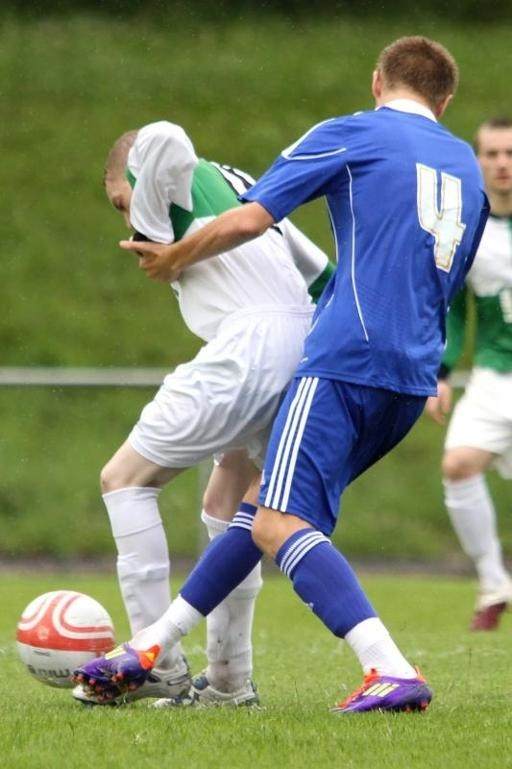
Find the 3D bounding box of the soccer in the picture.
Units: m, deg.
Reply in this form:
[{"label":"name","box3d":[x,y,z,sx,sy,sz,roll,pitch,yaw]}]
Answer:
[{"label":"soccer","box3d":[-0.509,0.690,2.899,0.264,0.260,0.262,4,-1,16]}]

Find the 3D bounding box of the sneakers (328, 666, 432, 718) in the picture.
[{"label":"sneakers","box3d":[0.273,0.669,2.348,0.197,0.085,0.091,-2,-6,-2]}]

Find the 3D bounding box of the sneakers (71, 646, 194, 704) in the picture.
[{"label":"sneakers","box3d":[-0.309,0.724,2.653,0.298,0.124,0.148,-3,-12,-5]}]

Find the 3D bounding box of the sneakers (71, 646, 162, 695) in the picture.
[{"label":"sneakers","box3d":[-0.340,0.686,2.627,0.176,0.111,0.080,-8,46,7]}]

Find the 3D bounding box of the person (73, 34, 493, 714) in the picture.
[{"label":"person","box3d":[0.171,-0.086,2.579,0.666,1.399,1.025,6,22,11]}]

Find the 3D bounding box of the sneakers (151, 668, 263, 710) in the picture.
[{"label":"sneakers","box3d":[-0.133,0.813,2.870,0.282,0.115,0.099,1,-14,-3]}]
